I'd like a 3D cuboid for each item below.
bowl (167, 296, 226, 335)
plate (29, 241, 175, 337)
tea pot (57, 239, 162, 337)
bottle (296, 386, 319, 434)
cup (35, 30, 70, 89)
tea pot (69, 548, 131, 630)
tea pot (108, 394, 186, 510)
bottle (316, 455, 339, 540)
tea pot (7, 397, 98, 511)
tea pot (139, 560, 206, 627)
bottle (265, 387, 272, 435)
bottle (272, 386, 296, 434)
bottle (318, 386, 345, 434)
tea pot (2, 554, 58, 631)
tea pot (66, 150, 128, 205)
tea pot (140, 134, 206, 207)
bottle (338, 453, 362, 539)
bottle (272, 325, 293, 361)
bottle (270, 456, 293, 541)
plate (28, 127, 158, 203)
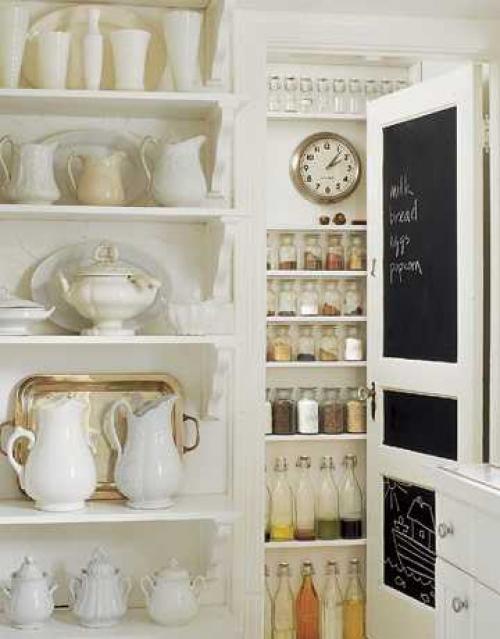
[{"bbox_3d":[-0.135,-0.011,2.284,0.108,0.065,0.091,1,0,0],"label":"bowl"},{"bbox_3d":[-0.367,-0.075,2.291,0.254,0.252,0.225,0,1,0],"label":"plate"},{"bbox_3d":[-0.362,-0.082,2.299,0.270,0.244,0.243,-2,1,-9],"label":"tea pot"},{"bbox_3d":[0.235,0.367,3.598,0.091,0.178,0.148,-1,1,4],"label":"bottle"},{"bbox_3d":[-0.498,-0.643,2.255,0.078,0.161,0.144,-2,2,-26],"label":"cup"},{"bbox_3d":[-0.390,0.669,2.302,0.192,0.237,0.174,2,-4,-14],"label":"tea pot"},{"bbox_3d":[-0.269,0.340,2.328,0.173,0.283,0.155,-1,2,15],"label":"tea pot"},{"bbox_3d":[0.311,0.702,3.557,0.092,0.323,0.132,-1,1,6],"label":"bottle"},{"bbox_3d":[-0.482,0.337,2.236,0.288,0.311,0.205,-1,-4,2],"label":"tea pot"},{"bbox_3d":[-0.204,0.695,2.344,0.192,0.175,0.144,0,0,-4],"label":"tea pot"},{"bbox_3d":[0.077,0.366,3.547,0.028,0.173,0.091,-1,1,-1],"label":"bottle"},{"bbox_3d":[0.131,0.366,3.548,0.087,0.180,0.077,-1,1,1],"label":"bottle"},{"bbox_3d":[0.334,0.367,3.610,0.104,0.184,0.129,-1,1,3],"label":"bottle"},{"bbox_3d":[-0.555,0.684,2.243,0.123,0.169,0.095,-2,1,-11],"label":"tea pot"},{"bbox_3d":[-0.396,-0.371,2.345,0.178,0.175,0.133,-3,9,-12],"label":"tea pot"},{"bbox_3d":[-0.200,-0.379,2.302,0.187,0.185,0.122,-1,2,16],"label":"tea pot"},{"bbox_3d":[0.405,0.700,3.561,0.094,0.325,0.120,-1,1,7],"label":"bottle"},{"bbox_3d":[0.131,0.098,3.595,0.084,0.139,0.153,-1,1,2],"label":"bottle"},{"bbox_3d":[0.133,0.705,3.538,0.085,0.320,0.167,-1,2,19],"label":"bottle"},{"bbox_3d":[-0.424,-0.426,2.477,0.280,0.194,0.179,-2,5,-17],"label":"plate"}]
